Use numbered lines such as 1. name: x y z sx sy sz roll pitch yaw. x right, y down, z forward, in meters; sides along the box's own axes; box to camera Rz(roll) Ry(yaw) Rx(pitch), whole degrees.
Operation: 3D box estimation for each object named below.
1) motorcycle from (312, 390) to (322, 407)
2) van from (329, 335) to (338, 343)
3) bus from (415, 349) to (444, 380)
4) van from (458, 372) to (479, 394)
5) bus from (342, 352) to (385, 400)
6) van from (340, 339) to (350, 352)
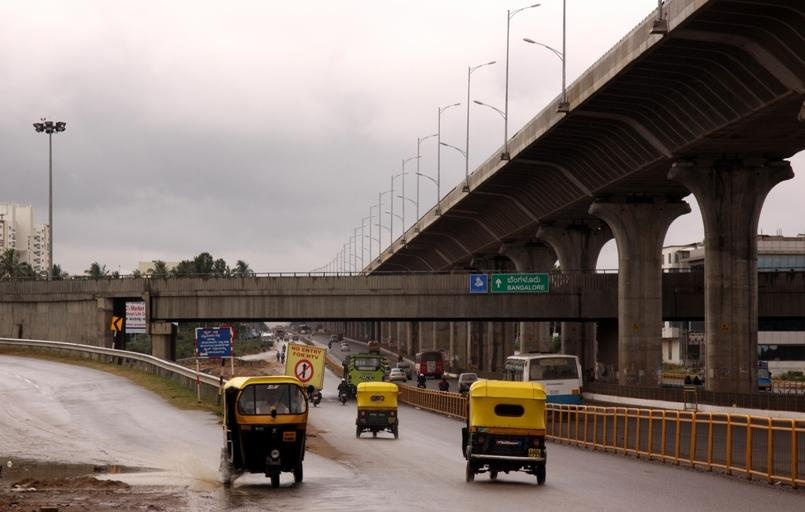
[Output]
1. motorcycle: -6.972 11.650 113.320 1.110 1.580 2.701 2 -3 -1
2. van: -13.723 16.647 276.851 1.314 1.136 2.235 0 -6 -8
3. bus: 3.311 12.585 159.896 2.049 2.110 3.925 1 1 -5
4. van: 6.247 11.926 130.704 1.739 1.658 3.721 0 3 -1
5. bus: -2.957 10.505 118.167 3.611 3.790 6.148 1 -10 5
6. van: -9.898 15.556 238.766 1.584 1.275 3.620 1 5 -3
